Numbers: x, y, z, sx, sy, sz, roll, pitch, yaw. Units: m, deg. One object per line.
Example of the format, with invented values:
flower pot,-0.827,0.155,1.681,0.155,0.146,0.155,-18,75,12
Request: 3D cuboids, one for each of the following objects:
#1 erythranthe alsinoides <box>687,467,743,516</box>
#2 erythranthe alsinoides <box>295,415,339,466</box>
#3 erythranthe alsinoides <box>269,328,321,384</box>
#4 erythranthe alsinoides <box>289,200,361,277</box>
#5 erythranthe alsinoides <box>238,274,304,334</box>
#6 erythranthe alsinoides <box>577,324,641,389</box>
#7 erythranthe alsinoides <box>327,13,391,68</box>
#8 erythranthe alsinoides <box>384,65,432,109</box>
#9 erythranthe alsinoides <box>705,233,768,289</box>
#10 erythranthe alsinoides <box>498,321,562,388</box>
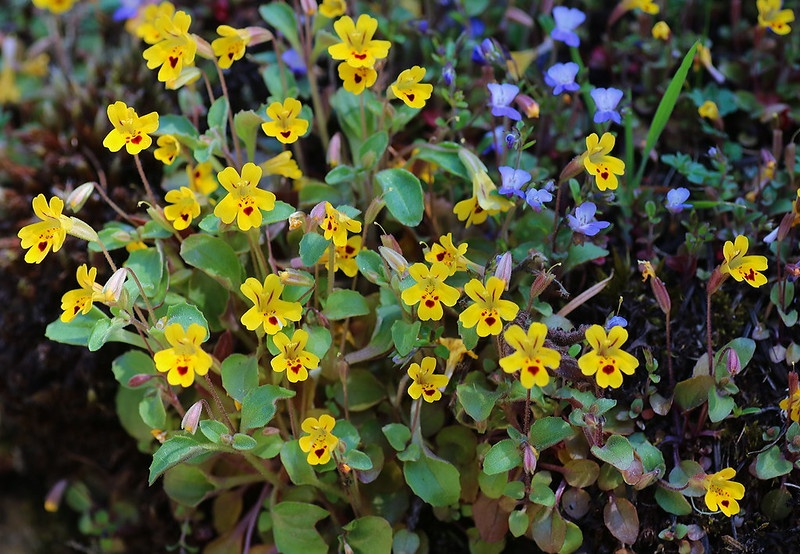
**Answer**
erythranthe alsinoides,0.901,0.606,1.943,0.130,0.134,0.107,-5,33,-13
erythranthe alsinoides,-0.223,0.455,1.919,0.116,0.139,0.049,14,-2,-9
erythranthe alsinoides,-0.291,0.206,1.905,0.125,0.136,0.133,-5,33,-13
erythranthe alsinoides,-0.210,-0.116,2.038,0.193,0.228,0.212,-10,28,-19
erythranthe alsinoides,-0.352,0.076,1.887,0.164,0.159,0.085,-7,32,-15
erythranthe alsinoides,0.541,0.212,1.827,0.140,0.055,0.178,-11,66,10
erythranthe alsinoides,-0.111,-0.667,2.004,0.171,0.199,0.105,7,61,-12
erythranthe alsinoides,0.028,-0.551,1.992,0.121,0.128,0.062,25,11,-2
erythranthe alsinoides,0.934,-0.034,1.938,0.143,0.164,0.132,3,16,23
erythranthe alsinoides,0.336,0.203,1.777,0.159,0.052,0.167,-32,84,-4
